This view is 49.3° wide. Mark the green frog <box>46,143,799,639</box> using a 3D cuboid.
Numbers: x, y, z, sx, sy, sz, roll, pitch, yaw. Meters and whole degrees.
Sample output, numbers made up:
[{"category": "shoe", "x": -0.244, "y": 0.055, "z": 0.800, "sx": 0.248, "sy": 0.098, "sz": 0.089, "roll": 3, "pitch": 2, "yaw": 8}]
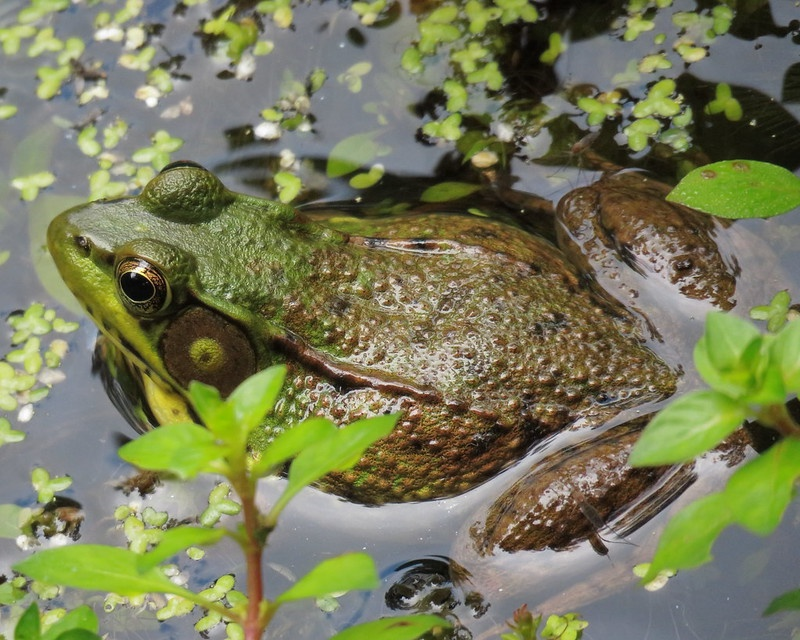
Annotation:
[{"category": "green frog", "x": 0.076, "y": 0.314, "z": 6.267, "sx": 3.353, "sy": 4.190, "sz": 2.737, "roll": 6, "pitch": -70, "yaw": 29}]
